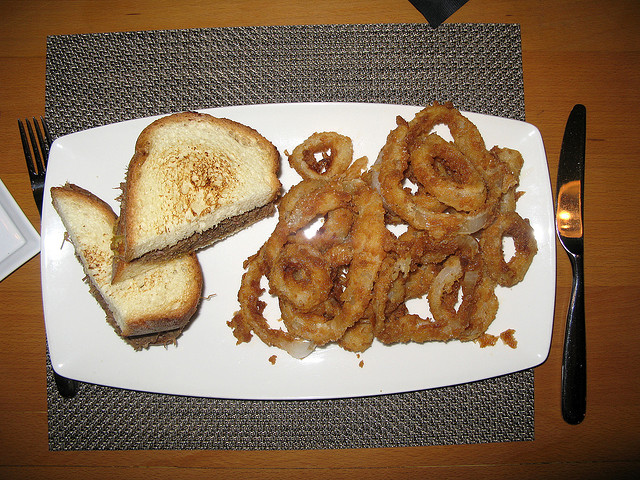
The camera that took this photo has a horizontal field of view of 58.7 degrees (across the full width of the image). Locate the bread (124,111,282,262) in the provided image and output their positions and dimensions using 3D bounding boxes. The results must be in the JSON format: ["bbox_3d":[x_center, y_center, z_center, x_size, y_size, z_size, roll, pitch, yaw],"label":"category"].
[{"bbox_3d":[-0.768,-0.430,3.437,1.022,0.228,0.737,-24,84,-2],"label":"bread"}]

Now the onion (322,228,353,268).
[{"bbox_3d":[0.115,0.076,3.415,0.140,0.071,0.245,-3,62,13],"label":"onion"}]

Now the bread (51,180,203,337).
[{"bbox_3d":[-1.246,0.128,3.452,1.087,0.240,0.670,29,70,-5],"label":"bread"}]

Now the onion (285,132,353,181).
[{"bbox_3d":[0.023,-0.522,3.517,0.293,0.117,0.351,43,95,-6],"label":"onion"}]

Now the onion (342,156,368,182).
[{"bbox_3d":[0.229,-0.437,3.556,0.175,0.040,0.104,-45,69,8],"label":"onion"}]

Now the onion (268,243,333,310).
[{"bbox_3d":[-0.107,0.210,3.376,0.376,0.142,0.360,28,85,4],"label":"onion"}]

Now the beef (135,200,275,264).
[{"bbox_3d":[-0.679,-0.036,3.514,0.708,0.399,0.705,-11,25,-28],"label":"beef"}]

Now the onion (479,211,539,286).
[{"bbox_3d":[1.146,0.043,3.485,0.352,0.118,0.413,30,85,4],"label":"onion"}]

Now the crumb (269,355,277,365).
[{"bbox_3d":[-0.286,0.735,3.514,0.056,0.015,0.057,-2,87,-3],"label":"crumb"}]

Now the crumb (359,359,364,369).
[{"bbox_3d":[0.257,0.760,3.507,0.036,0.013,0.053,2,87,-12],"label":"crumb"}]

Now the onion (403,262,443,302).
[{"bbox_3d":[0.629,0.215,3.567,0.251,0.241,0.209,11,111,12],"label":"onion"}]

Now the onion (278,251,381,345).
[{"bbox_3d":[0.108,0.353,3.481,0.560,0.559,0.448,9,25,27],"label":"onion"}]
